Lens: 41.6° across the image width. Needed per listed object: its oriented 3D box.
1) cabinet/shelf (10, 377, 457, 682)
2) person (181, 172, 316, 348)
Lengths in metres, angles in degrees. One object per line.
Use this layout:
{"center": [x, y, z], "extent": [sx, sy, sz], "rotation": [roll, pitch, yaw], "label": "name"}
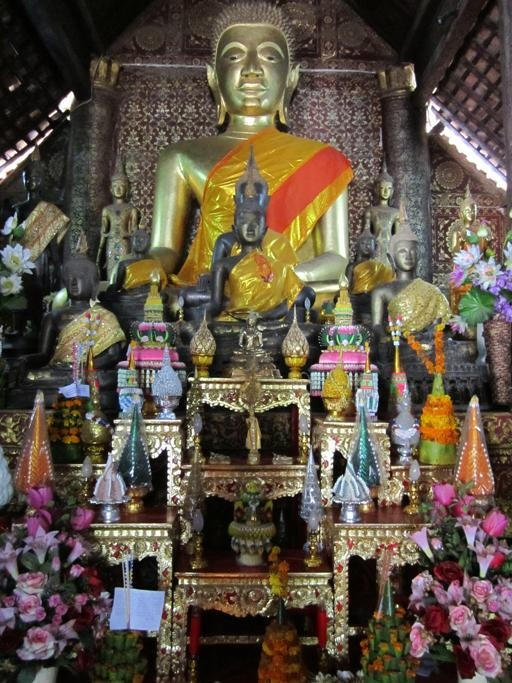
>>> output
{"center": [0.001, 0.418, 1.895], "extent": [0.983, 0.517, 0.654], "rotation": [-1, 79, -2], "label": "cabinet/shelf"}
{"center": [0.048, -0.345, 3.293], "extent": [0.515, 0.682, 0.759], "rotation": [12, 78, 4], "label": "person"}
